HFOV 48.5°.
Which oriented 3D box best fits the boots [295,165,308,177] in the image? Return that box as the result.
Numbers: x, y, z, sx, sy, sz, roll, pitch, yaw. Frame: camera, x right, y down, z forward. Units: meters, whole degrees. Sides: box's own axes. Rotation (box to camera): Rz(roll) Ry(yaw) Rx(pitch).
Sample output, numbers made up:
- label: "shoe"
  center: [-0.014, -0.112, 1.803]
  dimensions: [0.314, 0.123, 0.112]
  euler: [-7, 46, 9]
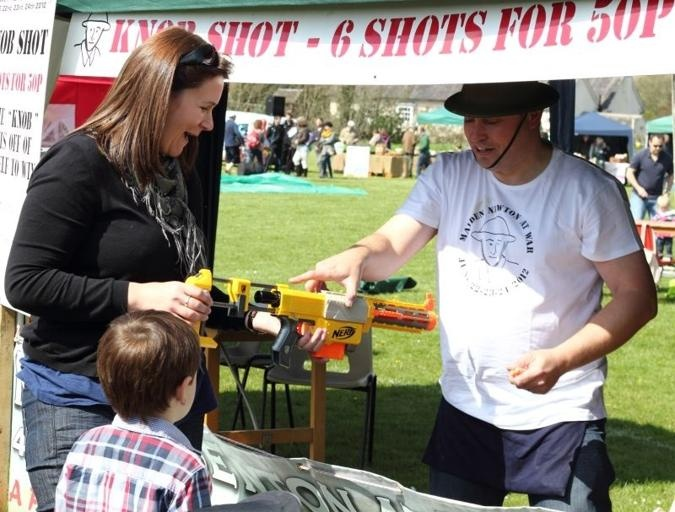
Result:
- label: "boots"
  center: [-1.050, -2.451, 21.431]
  dimensions: [0.310, 0.353, 0.210]
  euler: [7, 10, 24]

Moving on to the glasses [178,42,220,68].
- label: "glasses"
  center: [-0.535, -0.778, 2.916]
  dimensions: [0.095, 0.060, 0.106]
  euler: [1, 18, 24]

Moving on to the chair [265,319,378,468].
- label: "chair"
  center: [-0.099, 0.948, 5.744]
  dimensions: [0.732, 1.517, 0.855]
  euler: [7, -5, 5]
